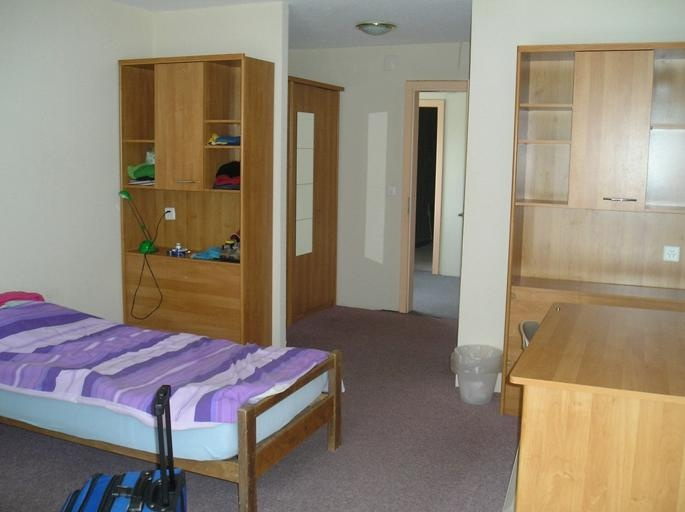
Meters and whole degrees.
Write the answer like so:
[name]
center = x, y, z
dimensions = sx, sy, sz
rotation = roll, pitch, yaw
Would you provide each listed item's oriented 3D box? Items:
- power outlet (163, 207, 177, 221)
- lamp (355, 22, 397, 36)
[power outlet]
center = -1.650, -0.405, 5.247
dimensions = 0.121, 0.120, 0.028
rotation = 2, 2, 15
[lamp]
center = 0.312, -2.184, 5.258
dimensions = 0.383, 0.071, 0.266
rotation = 4, 12, 14
